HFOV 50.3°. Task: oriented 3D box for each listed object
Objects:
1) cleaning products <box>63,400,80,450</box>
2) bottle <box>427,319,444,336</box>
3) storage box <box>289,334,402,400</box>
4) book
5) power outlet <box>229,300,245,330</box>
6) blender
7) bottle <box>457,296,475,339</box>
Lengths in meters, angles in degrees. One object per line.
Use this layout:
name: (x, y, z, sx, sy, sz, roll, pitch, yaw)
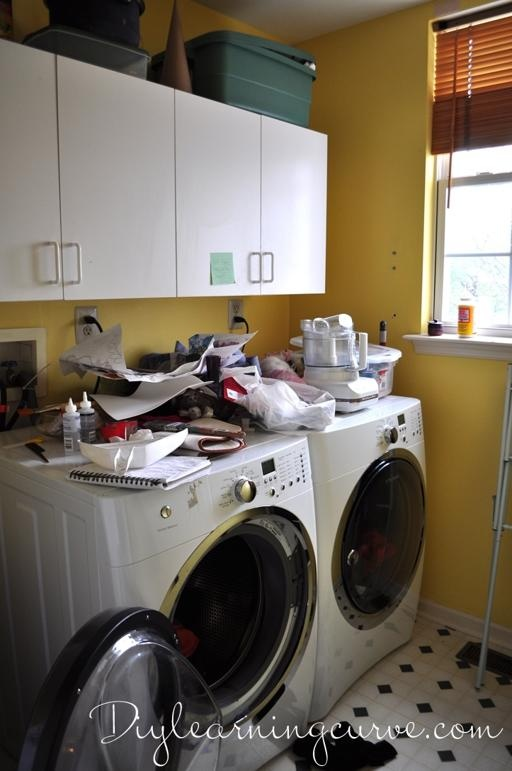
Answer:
cleaning products: (-0.431, 0.091, 1.270, 0.037, 0.127, 0.093, -2, 5, -27)
bottle: (0.705, -0.223, 2.135, 0.058, 0.063, 0.053, 3, 8, 21)
storage box: (0.352, -0.111, 2.032, 0.302, 0.206, 0.255, 4, 12, 24)
book: (-0.231, 0.171, 1.122, 0.222, 0.029, 0.250, 3, 6, 24)
power outlet: (-0.083, -0.294, 2.253, 0.015, 0.154, 0.105, 10, 13, 36)
blender: (0.254, -0.078, 1.831, 0.242, 0.321, 0.200, 3, 6, 32)
bottle: (0.806, -0.260, 2.094, 0.061, 0.150, 0.114, 2, 5, 20)
